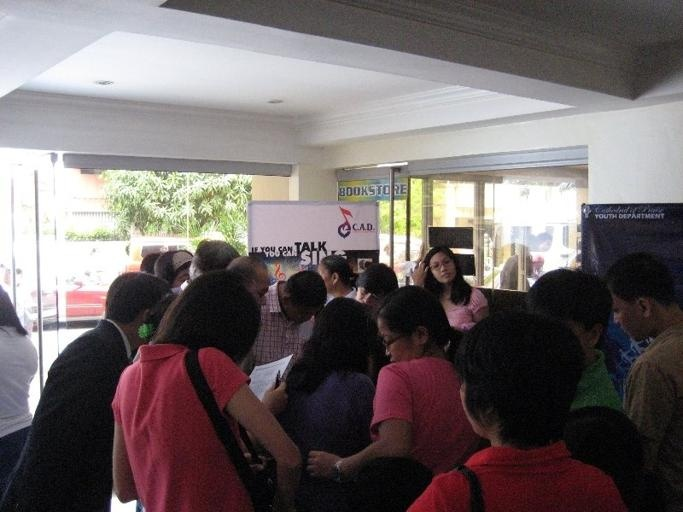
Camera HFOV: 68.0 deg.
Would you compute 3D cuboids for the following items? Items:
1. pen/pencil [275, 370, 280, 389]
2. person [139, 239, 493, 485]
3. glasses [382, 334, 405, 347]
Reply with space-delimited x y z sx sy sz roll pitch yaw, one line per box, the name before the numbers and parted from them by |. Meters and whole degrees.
pen/pencil | -0.243 0.480 1.967 0.019 0.067 0.020 3 -9 44
person | 0.027 0.405 1.777 0.605 1.021 0.655 -8 -29 37
glasses | 0.189 0.303 1.863 0.063 0.019 0.061 -2 -3 -21
